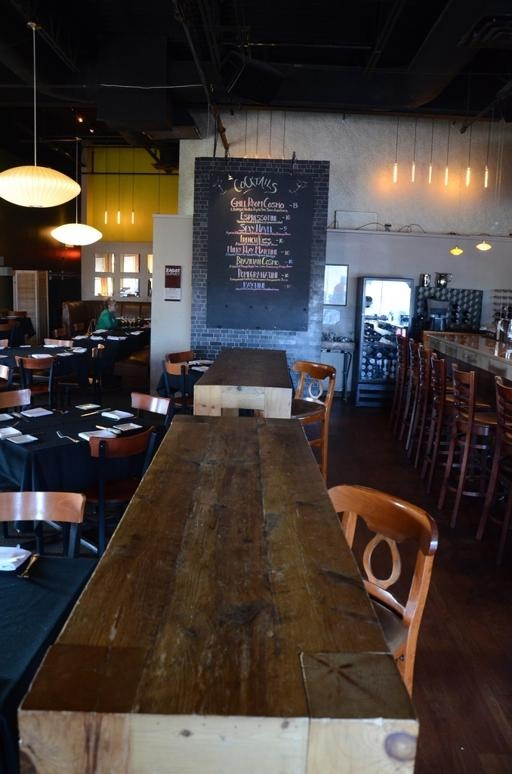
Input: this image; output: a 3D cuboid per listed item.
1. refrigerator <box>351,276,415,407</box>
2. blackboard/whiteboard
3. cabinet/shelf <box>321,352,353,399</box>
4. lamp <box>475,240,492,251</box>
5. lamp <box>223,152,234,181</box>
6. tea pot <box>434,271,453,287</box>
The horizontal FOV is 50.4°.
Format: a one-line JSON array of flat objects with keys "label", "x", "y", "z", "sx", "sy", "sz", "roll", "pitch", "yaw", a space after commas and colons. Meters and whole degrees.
[{"label": "refrigerator", "x": 1.973, "y": -0.789, "z": 8.457, "sx": 0.781, "sy": 2.002, "sz": 0.611, "roll": 3, "pitch": 32, "yaw": 14}, {"label": "blackboard/whiteboard", "x": 0.085, "y": -1.779, "z": 6.820, "sx": 1.806, "sy": 2.703, "sz": 0.215, "roll": 1, "pitch": 4, "yaw": 2}, {"label": "cabinet/shelf", "x": 1.144, "y": -0.195, "z": 7.657, "sx": 0.473, "sy": 0.682, "sz": 0.495, "roll": 3, "pitch": 39, "yaw": 5}, {"label": "lamp", "x": 3.477, "y": -2.153, "z": 8.374, "sx": 0.256, "sy": 0.182, "sz": 0.253, "roll": 5, "pitch": 18, "yaw": 29}, {"label": "lamp", "x": -0.343, "y": -2.714, "z": 6.773, "sx": 0.111, "sy": 0.326, "sz": 0.229, "roll": 2, "pitch": 9, "yaw": -4}, {"label": "tea pot", "x": 2.899, "y": -1.685, "z": 8.522, "sx": 0.255, "sy": 0.258, "sz": 0.196, "roll": 1, "pitch": 2, "yaw": -9}]
